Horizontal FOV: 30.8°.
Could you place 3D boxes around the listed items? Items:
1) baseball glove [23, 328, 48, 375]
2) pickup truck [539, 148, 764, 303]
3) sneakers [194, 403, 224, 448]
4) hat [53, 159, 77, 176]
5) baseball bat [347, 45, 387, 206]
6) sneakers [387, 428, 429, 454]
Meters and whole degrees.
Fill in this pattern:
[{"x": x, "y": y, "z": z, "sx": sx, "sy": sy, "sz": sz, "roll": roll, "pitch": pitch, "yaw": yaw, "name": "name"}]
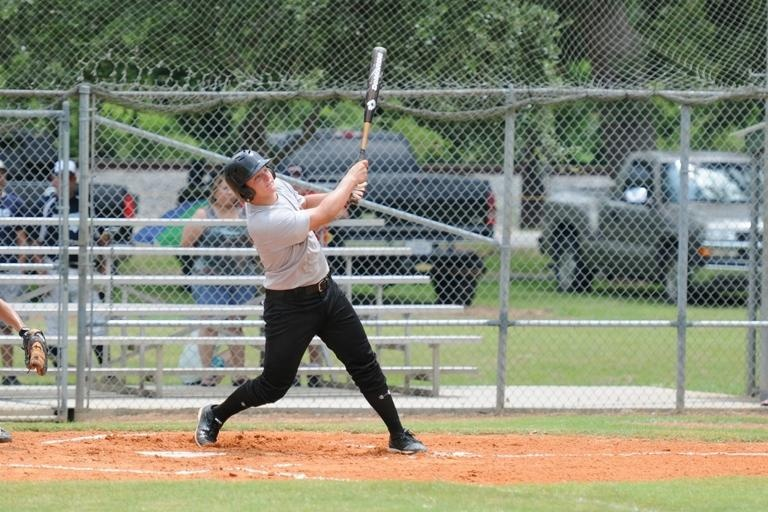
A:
[{"x": -3.699, "y": 1.052, "z": 14.933, "sx": 0.284, "sy": 0.555, "sz": 0.193, "roll": -5, "pitch": -45, "yaw": -13, "name": "baseball glove"}, {"x": 4.238, "y": -0.513, "z": 21.909, "sx": 1.803, "sy": 1.293, "sz": 3.139, "roll": 2, "pitch": -3, "yaw": -28, "name": "pickup truck"}, {"x": -1.863, "y": 1.827, "z": 15.177, "sx": 0.257, "sy": 0.505, "sz": 0.211, "roll": -1, "pitch": -7, "yaw": 35, "name": "sneakers"}, {"x": -3.878, "y": -1.059, "z": 17.019, "sx": 0.286, "sy": 0.130, "sz": 0.431, "roll": -2, "pitch": -6, "yaw": -7, "name": "hat"}, {"x": -0.202, "y": -1.527, "z": 15.545, "sx": 0.204, "sy": 1.636, "sz": 0.206, "roll": 23, "pitch": -9, "yaw": -42, "name": "baseball bat"}, {"x": 0.269, "y": 2.010, "z": 14.977, "sx": 0.404, "sy": 0.153, "sz": 0.205, "roll": -1, "pitch": -1, "yaw": 17, "name": "sneakers"}]
